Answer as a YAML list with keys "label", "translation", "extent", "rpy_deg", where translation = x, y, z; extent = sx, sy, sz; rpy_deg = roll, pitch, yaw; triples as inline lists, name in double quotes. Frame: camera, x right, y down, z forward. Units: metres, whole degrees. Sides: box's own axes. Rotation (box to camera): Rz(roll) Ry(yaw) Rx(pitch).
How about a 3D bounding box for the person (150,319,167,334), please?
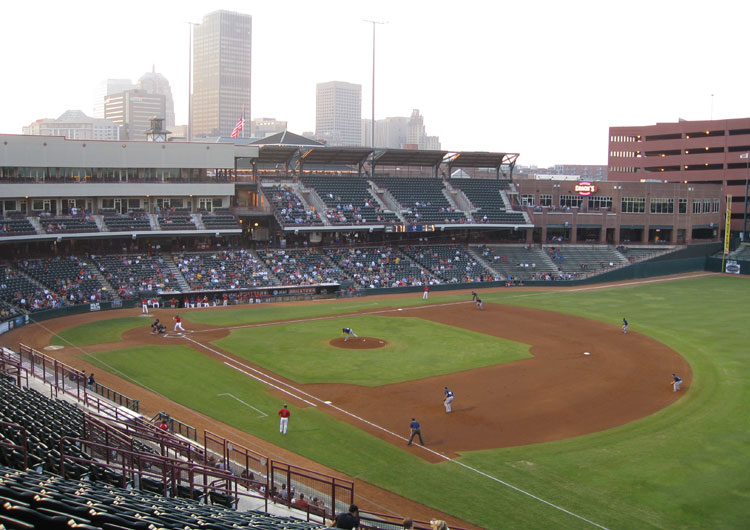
- label: "person"
  translation: [-17.244, 4.859, 90.131]
  extent: [1.259, 1.099, 1.244]
  rpy_deg: [1, 0, -12]
